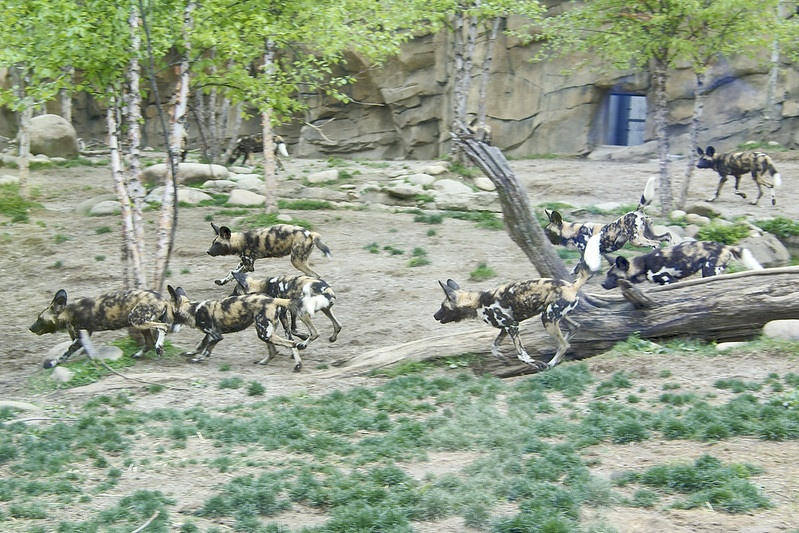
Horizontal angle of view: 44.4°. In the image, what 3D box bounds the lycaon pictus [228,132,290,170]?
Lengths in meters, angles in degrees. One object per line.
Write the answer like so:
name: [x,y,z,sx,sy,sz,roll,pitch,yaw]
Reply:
lycaon pictus: [-5.199,-4.100,34.656,2.574,0.784,0.540,-6,13,-34]
